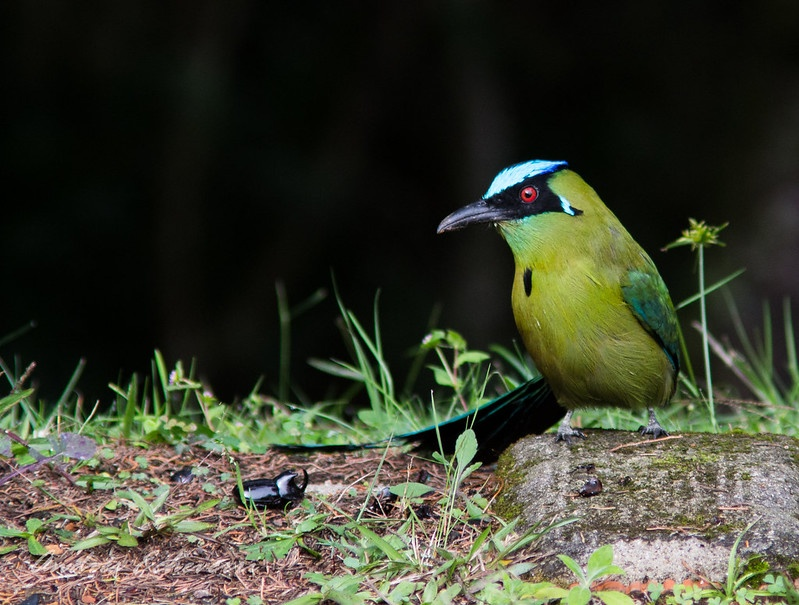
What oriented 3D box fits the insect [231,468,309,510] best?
[{"bbox_3d":[-0.688,1.018,4.327,0.383,0.173,0.240,-4,12,-13],"label":"insect"}]
